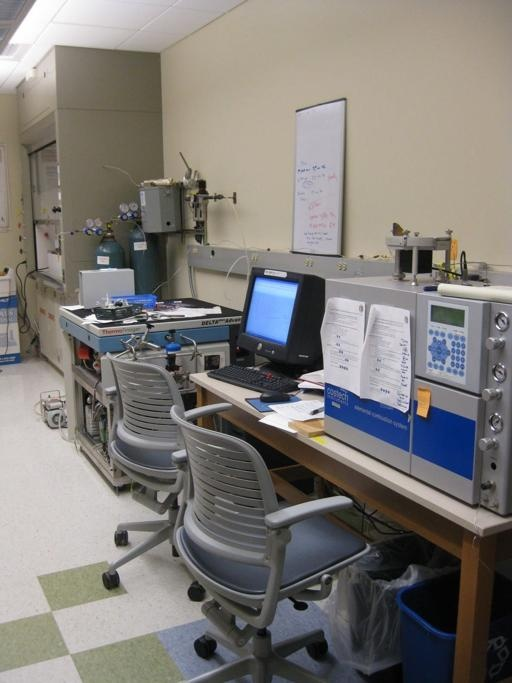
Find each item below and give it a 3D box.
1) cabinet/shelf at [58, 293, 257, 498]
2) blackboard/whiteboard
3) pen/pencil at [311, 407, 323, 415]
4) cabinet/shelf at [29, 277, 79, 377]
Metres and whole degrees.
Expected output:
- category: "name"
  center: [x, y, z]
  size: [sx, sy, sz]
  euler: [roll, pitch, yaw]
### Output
- category: "cabinet/shelf"
  center: [-0.680, 0.213, 3.235]
  size: [1.053, 1.075, 1.052]
  euler: [-3, 9, -31]
- category: "blackboard/whiteboard"
  center: [0.301, -0.773, 2.667]
  size: [0.044, 0.711, 0.384]
  euler: [-5, 10, -27]
- category: "pen/pencil"
  center: [0.191, 0.220, 1.746]
  size: [0.015, 0.015, 0.059]
  euler: [-7, 10, 46]
- category: "cabinet/shelf"
  center: [-1.744, -0.132, 4.761]
  size: [0.289, 0.796, 0.873]
  euler: [-5, 14, -27]
